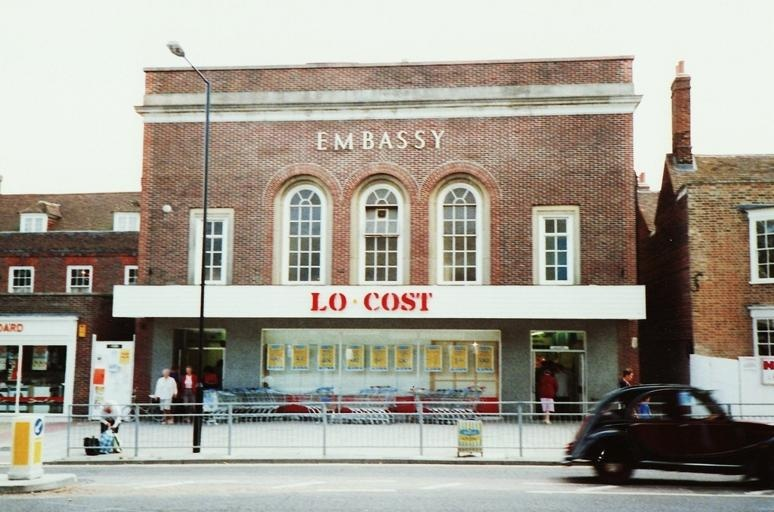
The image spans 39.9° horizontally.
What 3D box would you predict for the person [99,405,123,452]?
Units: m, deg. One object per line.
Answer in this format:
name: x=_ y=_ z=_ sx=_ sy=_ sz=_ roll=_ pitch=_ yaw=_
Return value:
person: x=-8.999 y=5.623 z=34.514 sx=0.727 sy=1.517 sz=0.926 roll=1 pitch=-14 yaw=-12
